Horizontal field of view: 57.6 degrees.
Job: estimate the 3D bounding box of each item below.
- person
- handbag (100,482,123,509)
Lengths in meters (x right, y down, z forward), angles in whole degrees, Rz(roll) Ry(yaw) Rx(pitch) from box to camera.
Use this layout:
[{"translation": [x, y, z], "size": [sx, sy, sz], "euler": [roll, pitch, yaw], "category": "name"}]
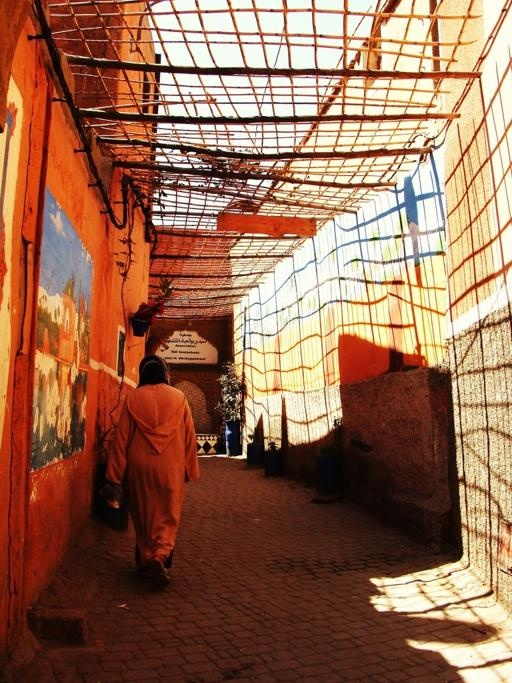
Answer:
[{"translation": [-0.806, 0.871, 3.574], "size": [0.566, 1.627, 0.794], "euler": [0, -9, 12], "category": "person"}, {"translation": [-1.077, 1.142, 3.455], "size": [0.145, 0.201, 0.160], "euler": [5, -10, -19], "category": "handbag"}]
